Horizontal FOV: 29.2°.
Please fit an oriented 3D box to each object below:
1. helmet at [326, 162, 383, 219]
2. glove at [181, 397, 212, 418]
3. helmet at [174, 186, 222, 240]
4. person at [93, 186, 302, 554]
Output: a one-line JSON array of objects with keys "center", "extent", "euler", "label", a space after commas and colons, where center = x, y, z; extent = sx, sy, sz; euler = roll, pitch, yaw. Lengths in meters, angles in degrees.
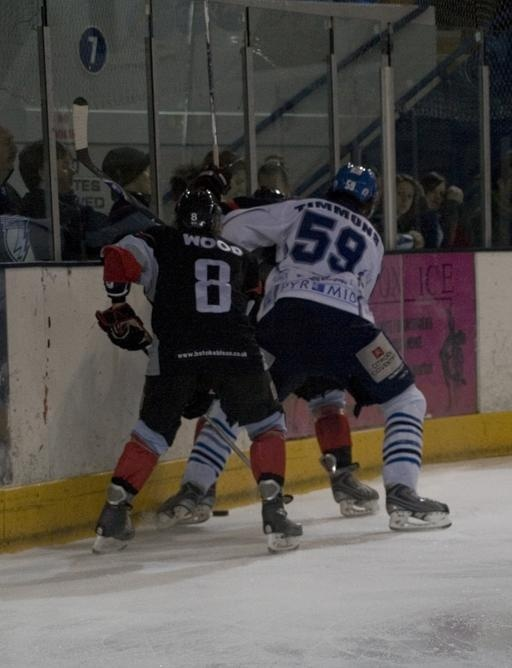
[{"center": [0.418, -0.604, 4.016], "extent": [0.184, 0.213, 0.226], "euler": [20, 41, 5], "label": "helmet"}, {"center": [-0.219, 0.272, 3.640], "extent": [0.102, 0.073, 0.024], "euler": [-35, 28, -4], "label": "glove"}, {"center": [-0.215, -0.458, 3.680], "extent": [0.168, 0.184, 0.196], "euler": [0, 13, 15], "label": "helmet"}, {"center": [-0.228, 0.117, 3.505], "extent": [0.711, 1.286, 0.453], "euler": [-1, 2, -9], "label": "person"}]
